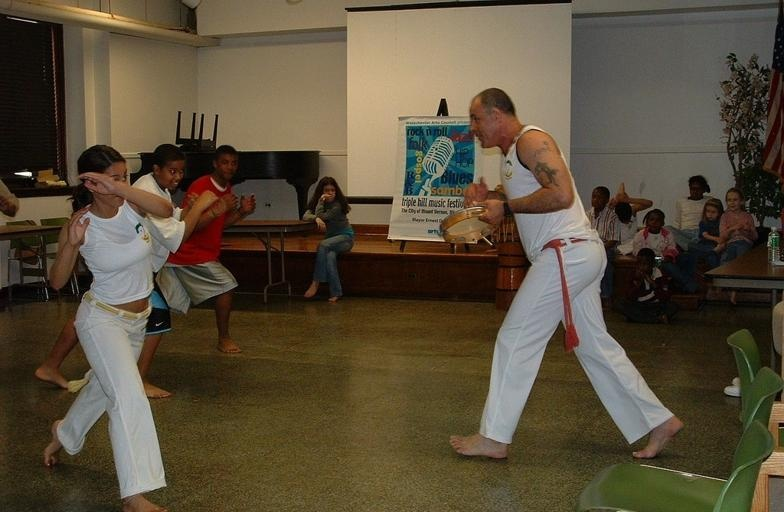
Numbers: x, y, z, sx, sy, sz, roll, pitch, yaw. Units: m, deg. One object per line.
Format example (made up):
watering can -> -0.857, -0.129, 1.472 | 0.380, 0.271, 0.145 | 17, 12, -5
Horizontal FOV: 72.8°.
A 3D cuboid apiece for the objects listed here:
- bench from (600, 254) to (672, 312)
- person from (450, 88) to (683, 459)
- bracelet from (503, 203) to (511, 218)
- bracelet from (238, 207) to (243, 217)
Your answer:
bench -> 3.043, 0.352, 6.475 | 0.644, 0.838, 0.547 | -2, -2, 29
person -> 0.925, 0.115, 3.064 | 1.160, 2.148, 0.431 | 0, 7, 0
bracelet -> 0.642, -0.263, 2.974 | 0.042, 0.072, 0.070 | -2, 1, -2
bracelet -> -1.304, -0.387, 4.576 | 0.053, 0.054, 0.013 | 37, 13, 16
